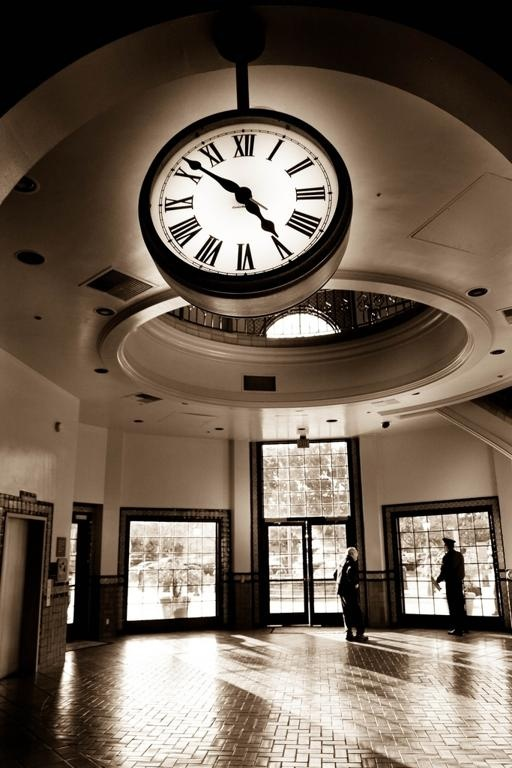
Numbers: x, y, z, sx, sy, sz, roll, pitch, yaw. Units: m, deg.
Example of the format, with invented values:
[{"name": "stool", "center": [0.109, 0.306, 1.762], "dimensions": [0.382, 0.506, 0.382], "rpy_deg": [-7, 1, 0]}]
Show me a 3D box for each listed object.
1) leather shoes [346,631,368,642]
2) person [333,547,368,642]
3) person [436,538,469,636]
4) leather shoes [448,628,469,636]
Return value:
[{"name": "leather shoes", "center": [1.719, 4.336, 10.013], "dimensions": [0.397, 0.199, 0.143], "rpy_deg": [-3, -14, 9]}, {"name": "person", "center": [1.662, 3.683, 10.301], "dimensions": [0.488, 1.537, 0.458], "rpy_deg": [-6, -13, 18]}, {"name": "person", "center": [3.569, 3.670, 10.629], "dimensions": [0.493, 1.657, 0.412], "rpy_deg": [-3, -12, 7]}, {"name": "leather shoes", "center": [3.570, 4.458, 10.447], "dimensions": [0.287, 0.109, 0.216], "rpy_deg": [-18, -24, 40]}]
